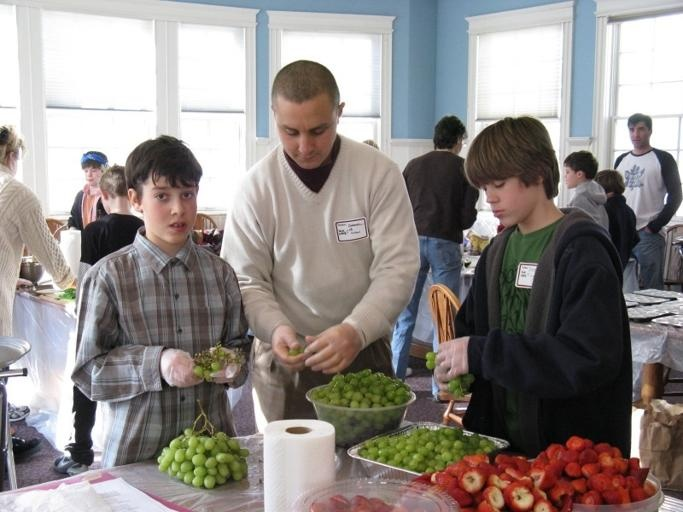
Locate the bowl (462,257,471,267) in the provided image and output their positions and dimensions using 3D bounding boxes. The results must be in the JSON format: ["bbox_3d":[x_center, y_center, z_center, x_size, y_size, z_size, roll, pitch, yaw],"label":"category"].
[{"bbox_3d":[1.070,0.050,4.728,0.056,0.102,0.092,6,5,6],"label":"bowl"}]

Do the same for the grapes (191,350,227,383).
[{"bbox_3d":[-0.370,0.294,1.565,0.074,0.045,0.092,33,48,30],"label":"grapes"}]

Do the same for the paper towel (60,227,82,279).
[{"bbox_3d":[-1.676,-0.019,3.457,0.106,0.302,0.109,1,-3,-34],"label":"paper towel"}]

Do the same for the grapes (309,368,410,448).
[{"bbox_3d":[-0.003,0.407,1.604,0.164,0.102,0.176,9,14,35],"label":"grapes"}]

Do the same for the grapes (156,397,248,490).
[{"bbox_3d":[-0.377,0.515,1.458,0.253,0.119,0.134,2,10,28],"label":"grapes"}]

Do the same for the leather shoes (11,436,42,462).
[{"bbox_3d":[-2.027,1.208,3.559,0.074,0.104,0.228,10,12,34],"label":"leather shoes"}]
